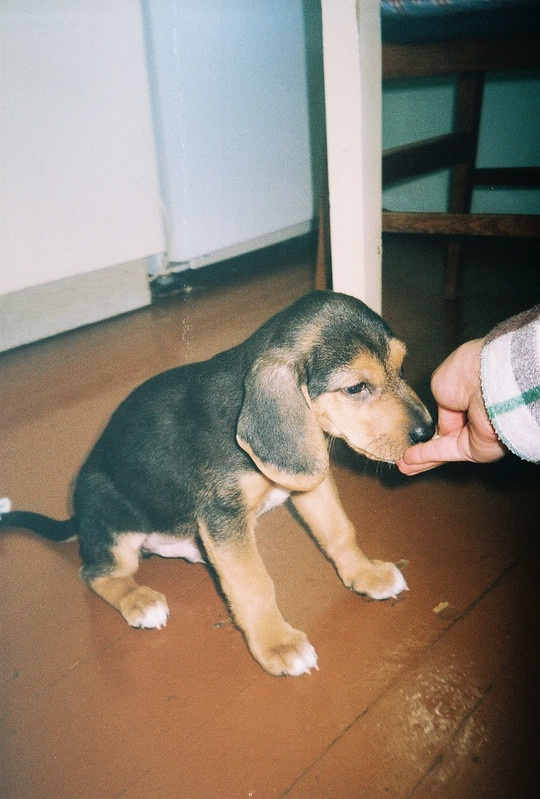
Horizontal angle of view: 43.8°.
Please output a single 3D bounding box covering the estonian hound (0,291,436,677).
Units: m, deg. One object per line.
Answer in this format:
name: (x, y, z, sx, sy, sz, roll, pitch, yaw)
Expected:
estonian hound: (-0.037, 0.107, 1.031, 0.382, 0.377, 0.595, 19, 42, 31)
